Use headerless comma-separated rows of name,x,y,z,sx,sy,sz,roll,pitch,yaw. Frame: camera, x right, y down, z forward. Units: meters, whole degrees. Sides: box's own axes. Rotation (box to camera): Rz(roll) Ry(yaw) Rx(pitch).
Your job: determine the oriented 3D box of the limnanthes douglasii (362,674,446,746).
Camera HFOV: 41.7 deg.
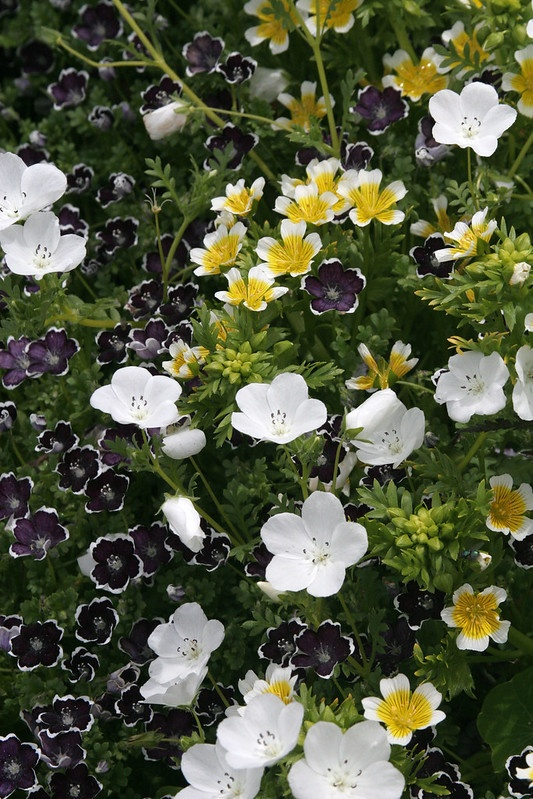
limnanthes douglasii,0.228,0.513,1.144,0.136,0.068,0.152,5,7,2
